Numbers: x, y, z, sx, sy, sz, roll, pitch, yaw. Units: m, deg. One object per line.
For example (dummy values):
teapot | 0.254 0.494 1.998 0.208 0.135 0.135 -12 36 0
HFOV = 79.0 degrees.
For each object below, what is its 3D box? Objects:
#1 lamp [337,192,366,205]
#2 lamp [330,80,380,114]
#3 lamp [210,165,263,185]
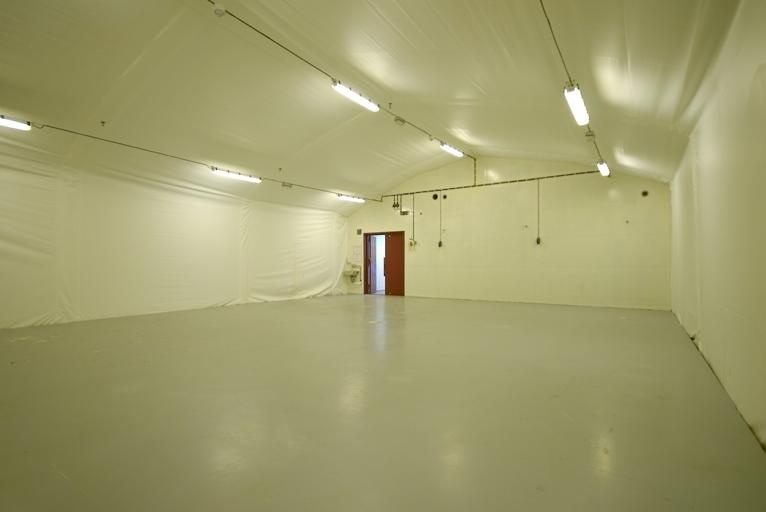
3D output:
lamp | -1.057 -1.843 14.773 0.558 0.209 1.635 1 3 26
lamp | -0.601 -3.009 8.769 0.602 0.299 1.318 1 3 31
lamp | -3.531 -1.850 11.077 1.082 0.123 0.173 15 -53 -47
